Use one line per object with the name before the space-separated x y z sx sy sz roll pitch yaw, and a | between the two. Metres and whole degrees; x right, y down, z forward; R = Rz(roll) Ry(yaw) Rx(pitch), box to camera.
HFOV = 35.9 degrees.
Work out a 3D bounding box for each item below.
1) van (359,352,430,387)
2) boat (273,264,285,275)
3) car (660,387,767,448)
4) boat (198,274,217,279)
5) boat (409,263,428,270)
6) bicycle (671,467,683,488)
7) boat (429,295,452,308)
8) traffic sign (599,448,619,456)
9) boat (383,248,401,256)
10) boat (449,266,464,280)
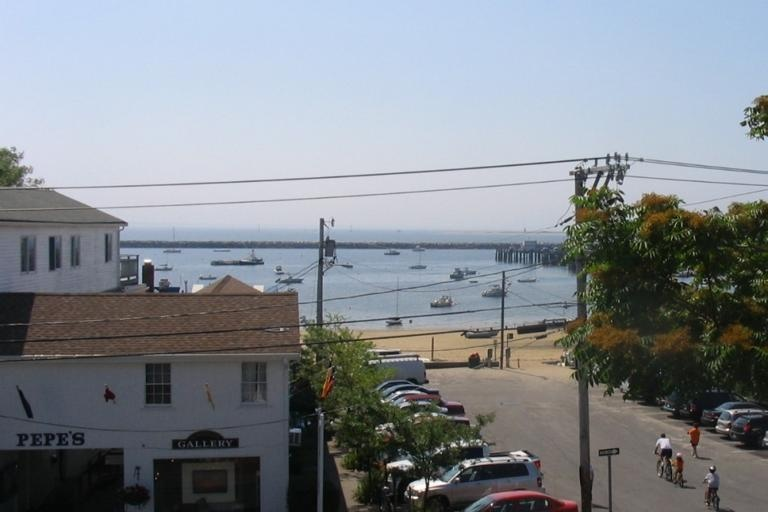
van | 0.743 7.113 73.173 3.721 1.536 2.087 2 -2 -12
boat | -22.434 3.119 247.910 1.876 2.113 6.678 -2 -3 -5
car | 18.797 9.023 68.186 5.674 2.402 3.914 -5 -6 27
boat | -35.317 4.204 234.151 3.655 1.132 0.708 -3 10 9
boat | 7.388 2.689 286.905 4.948 1.406 1.547 -4 -1 42
bicycle | 14.946 11.242 59.906 0.526 0.858 0.672 -4 -6 19
boat | 8.142 6.770 171.418 2.821 1.826 3.636 -4 -6 21
traffic sign | 10.659 9.339 56.049 0.855 0.456 2.236 -3 -6 12
boat | 1.918 -1.106 402.030 2.476 2.694 7.943 -3 -3 -29
boat | 14.770 3.752 243.004 2.785 1.897 5.253 0 -1 6
